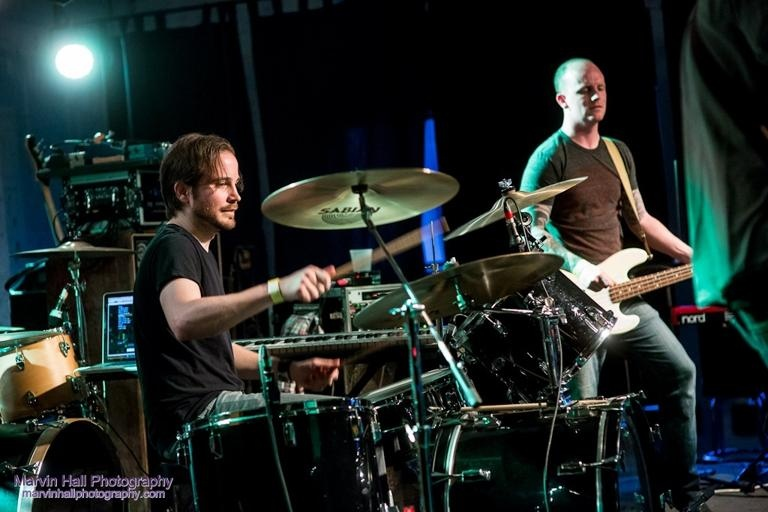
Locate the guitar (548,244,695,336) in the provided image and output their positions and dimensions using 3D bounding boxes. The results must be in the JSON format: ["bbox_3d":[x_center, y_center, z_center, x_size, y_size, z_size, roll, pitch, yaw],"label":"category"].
[{"bbox_3d":[1.491,0.211,4.442,0.711,0.242,0.094,-15,-5,-15],"label":"guitar"}]

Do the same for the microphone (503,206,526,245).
[{"bbox_3d":[0.751,-0.161,3.981,0.077,0.295,0.100,-22,-20,39],"label":"microphone"}]

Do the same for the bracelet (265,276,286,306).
[{"bbox_3d":[-0.506,0.156,3.242,0.072,0.119,0.142,-4,-9,-12],"label":"bracelet"}]
